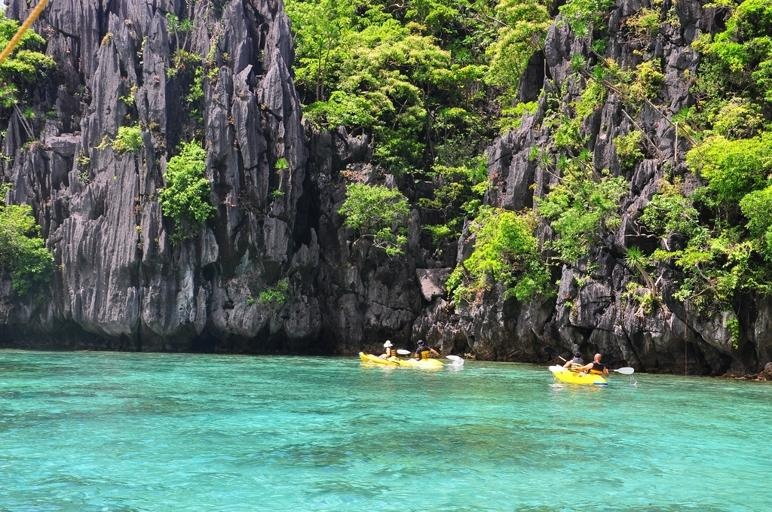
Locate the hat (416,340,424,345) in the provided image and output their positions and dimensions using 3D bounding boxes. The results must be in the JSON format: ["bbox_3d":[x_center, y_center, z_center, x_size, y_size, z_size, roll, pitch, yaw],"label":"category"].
[{"bbox_3d":[2.513,5.904,74.700,0.475,0.283,0.597,2,-7,6],"label":"hat"}]

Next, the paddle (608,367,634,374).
[{"bbox_3d":[14.602,7.075,66.546,0.376,0.599,2.736,1,-6,-20],"label":"paddle"}]

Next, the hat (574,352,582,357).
[{"bbox_3d":[12.897,6.512,71.184,0.353,0.187,0.461,20,-9,-22],"label":"hat"}]

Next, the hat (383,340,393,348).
[{"bbox_3d":[0.266,6.187,76.056,0.878,0.274,0.905,-1,11,2],"label":"hat"}]

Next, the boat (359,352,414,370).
[{"bbox_3d":[-0.372,6.933,73.473,3.379,0.734,1.168,8,-8,32],"label":"boat"}]

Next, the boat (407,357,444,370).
[{"bbox_3d":[2.678,7.189,71.612,2.608,0.791,2.011,-3,-9,19],"label":"boat"}]
